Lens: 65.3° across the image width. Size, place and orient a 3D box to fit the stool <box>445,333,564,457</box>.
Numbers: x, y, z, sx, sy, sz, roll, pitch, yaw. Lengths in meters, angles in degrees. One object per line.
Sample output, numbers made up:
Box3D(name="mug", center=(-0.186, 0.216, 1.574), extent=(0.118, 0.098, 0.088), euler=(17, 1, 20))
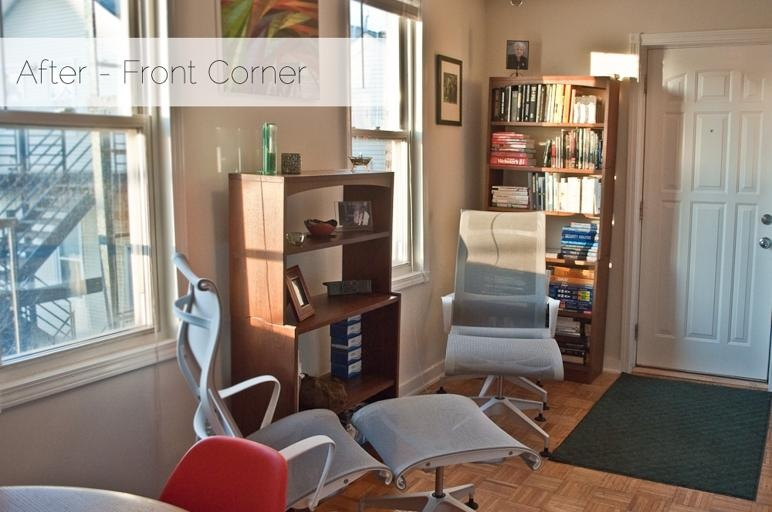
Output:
Box3D(name="stool", center=(0.806, 0.714, 4.182), extent=(0.747, 0.938, 0.793), euler=(1, 6, 1))

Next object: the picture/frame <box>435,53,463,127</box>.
Box3D(name="picture/frame", center=(0.506, -1.349, 4.873), extent=(0.047, 0.674, 0.649), euler=(1, 4, 27))

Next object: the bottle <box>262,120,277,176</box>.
Box3D(name="bottle", center=(-0.622, -0.569, 3.220), extent=(0.074, 0.258, 0.172), euler=(-4, 14, -12))

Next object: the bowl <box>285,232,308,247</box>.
Box3D(name="bowl", center=(-0.497, -0.091, 3.310), extent=(0.083, 0.057, 0.081), euler=(0, 0, 0))

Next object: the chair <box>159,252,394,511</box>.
Box3D(name="chair", center=(-0.501, 0.508, 2.737), extent=(0.730, 1.063, 0.925), euler=(-10, 16, -33))

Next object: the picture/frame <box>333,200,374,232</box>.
Box3D(name="picture/frame", center=(-0.198, -0.246, 3.743), extent=(0.205, 0.166, 0.067), euler=(-2, -3, -28))

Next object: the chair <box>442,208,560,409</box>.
Box3D(name="chair", center=(0.832, 0.241, 4.204), extent=(0.960, 1.541, 1.133), euler=(1, 4, 5))
